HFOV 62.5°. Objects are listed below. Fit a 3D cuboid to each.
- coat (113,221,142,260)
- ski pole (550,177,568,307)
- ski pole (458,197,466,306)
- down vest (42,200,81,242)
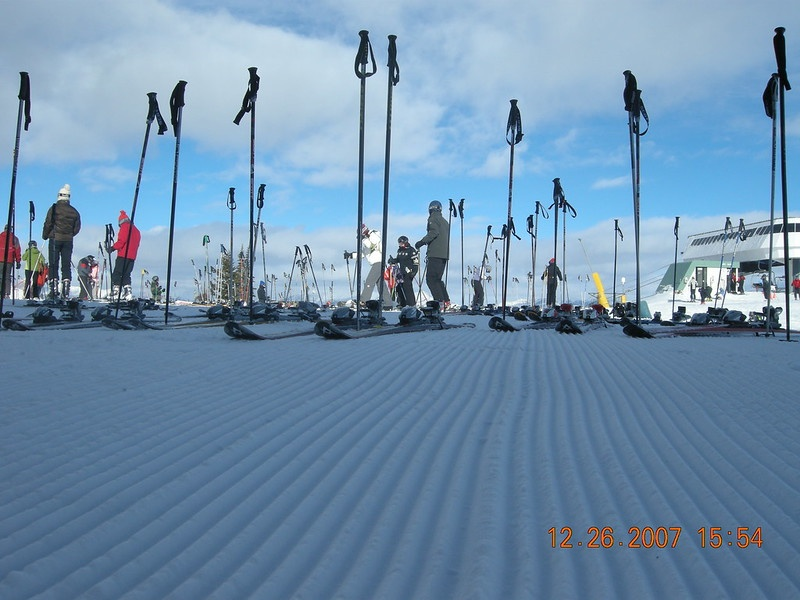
[{"bbox_3d":[-6.033,-1.300,14.286,0.363,0.871,0.632,13,-3,-18],"label":"coat"},{"bbox_3d":[3.934,-1.469,16.244,0.478,3.185,0.697,-5,8,2],"label":"ski pole"},{"bbox_3d":[2.655,-1.916,28.017,0.044,4.436,0.481,-6,-10,31],"label":"ski pole"},{"bbox_3d":[-7.681,-1.795,14.928,0.494,0.959,0.685,8,2,42],"label":"down vest"}]
